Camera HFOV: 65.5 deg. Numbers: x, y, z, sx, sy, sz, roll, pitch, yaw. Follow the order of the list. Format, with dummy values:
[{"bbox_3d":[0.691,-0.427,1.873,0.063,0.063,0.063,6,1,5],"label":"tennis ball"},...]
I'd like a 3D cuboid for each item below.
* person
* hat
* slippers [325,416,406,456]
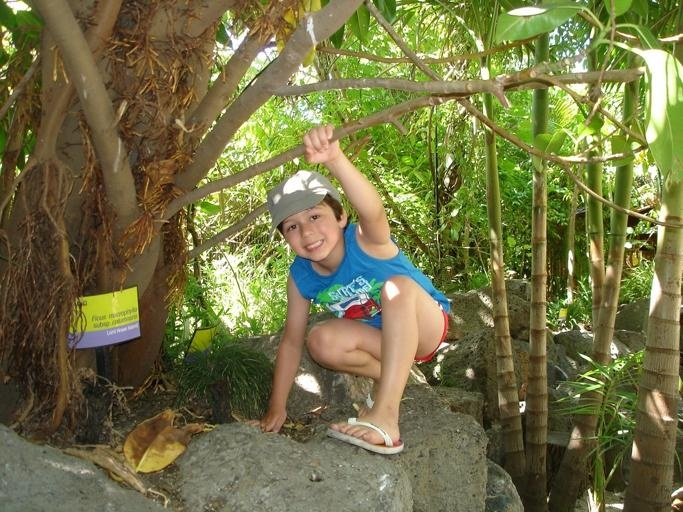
[{"bbox_3d":[0.024,0.144,1.983,0.628,1.026,0.778,-4,-1,11],"label":"person"},{"bbox_3d":[-0.165,-0.204,1.925,0.217,0.161,0.306,-25,2,5],"label":"hat"},{"bbox_3d":[0.080,0.622,1.799,0.197,0.072,0.122,22,-22,-4],"label":"slippers"}]
